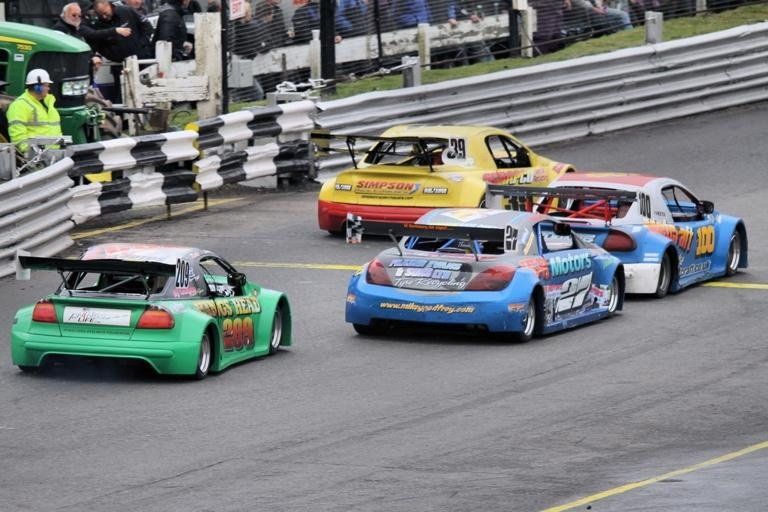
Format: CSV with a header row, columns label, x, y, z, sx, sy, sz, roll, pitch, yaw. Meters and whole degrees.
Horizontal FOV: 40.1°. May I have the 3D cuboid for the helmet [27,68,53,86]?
label,x,y,z,sx,sy,sz,roll,pitch,yaw
helmet,-6.023,-3.085,18.118,0.548,0.194,0.320,0,6,13

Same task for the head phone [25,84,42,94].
label,x,y,z,sx,sy,sz,roll,pitch,yaw
head phone,-5.969,-2.871,18.007,0.194,0.080,0.224,2,-5,-31

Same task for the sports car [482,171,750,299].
label,x,y,z,sx,sy,sz,roll,pitch,yaw
sports car,3.789,-0.525,16.455,2.837,1.097,4.292,16,18,32

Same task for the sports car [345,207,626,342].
label,x,y,z,sx,sy,sz,roll,pitch,yaw
sports car,1.498,0.097,14.042,2.643,1.015,3.794,11,14,26
